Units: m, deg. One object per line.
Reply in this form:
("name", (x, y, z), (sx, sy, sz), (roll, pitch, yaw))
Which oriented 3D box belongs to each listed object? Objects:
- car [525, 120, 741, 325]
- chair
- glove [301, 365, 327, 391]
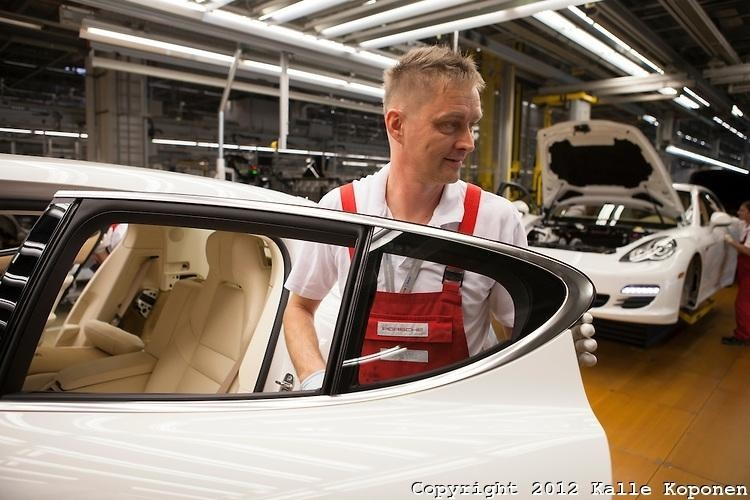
("car", (2.859, -0.306, 6.312), (1.890, 1.530, 3.098), (1, -3, 41))
("chair", (-1.179, 0.338, 3.085), (0.515, 0.819, 0.669), (16, -14, 30))
("glove", (-0.234, 0.501, 2.235), (0.066, 0.071, 0.089), (-5, -10, 19))
